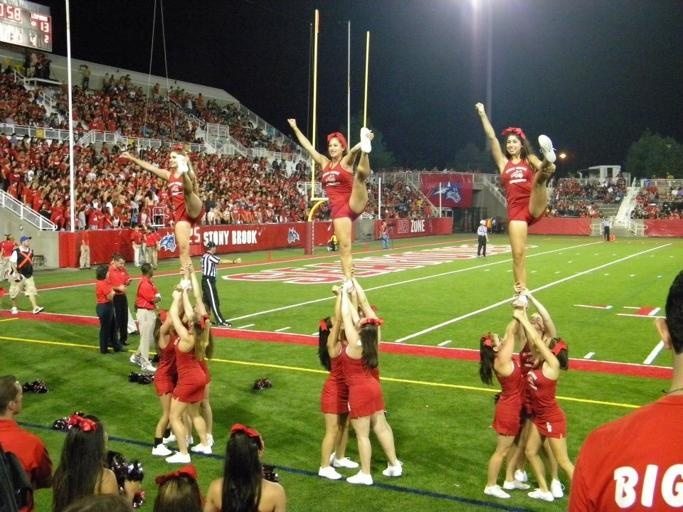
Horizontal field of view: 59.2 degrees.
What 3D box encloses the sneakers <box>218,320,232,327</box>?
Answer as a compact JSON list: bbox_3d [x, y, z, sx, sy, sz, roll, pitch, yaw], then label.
[{"bbox_3d":[-2.971,1.738,15.506,0.361,0.171,0.164,0,1,16],"label":"sneakers"}]
